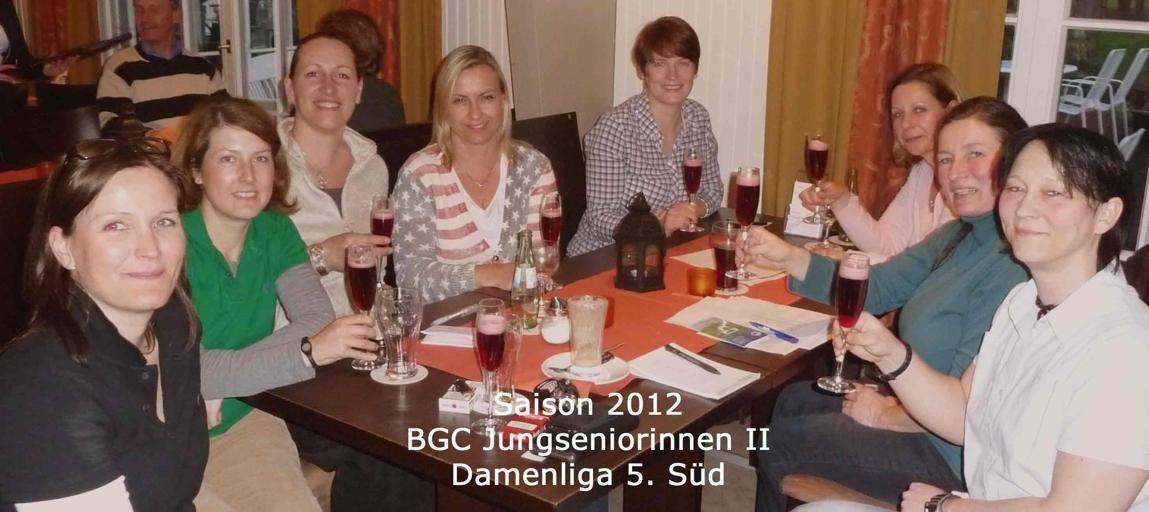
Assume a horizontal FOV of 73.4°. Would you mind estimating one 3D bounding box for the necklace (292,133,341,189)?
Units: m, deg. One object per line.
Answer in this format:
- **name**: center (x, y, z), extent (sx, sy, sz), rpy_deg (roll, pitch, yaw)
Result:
- **necklace**: center (-1.652, -0.571, 4.823), extent (0.098, 0.394, 0.180), rpy_deg (-43, -15, 34)
